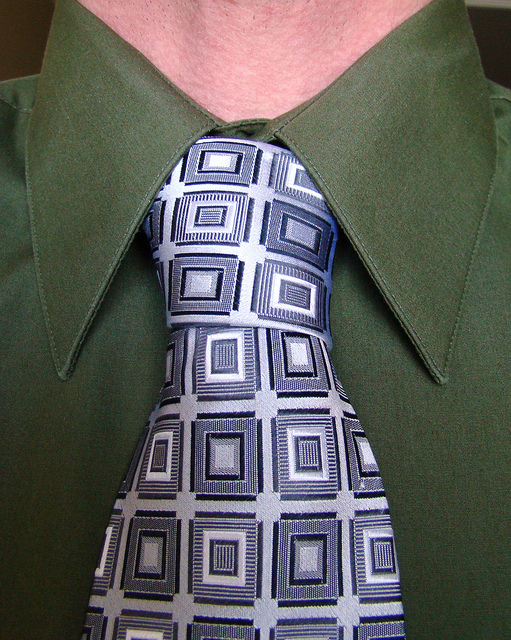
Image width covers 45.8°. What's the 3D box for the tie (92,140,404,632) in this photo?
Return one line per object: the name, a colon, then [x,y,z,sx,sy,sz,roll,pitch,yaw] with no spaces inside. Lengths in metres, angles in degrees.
tie: [-0.003,0.036,0.365,0.148,0.031,0.267,-3,67,1]
